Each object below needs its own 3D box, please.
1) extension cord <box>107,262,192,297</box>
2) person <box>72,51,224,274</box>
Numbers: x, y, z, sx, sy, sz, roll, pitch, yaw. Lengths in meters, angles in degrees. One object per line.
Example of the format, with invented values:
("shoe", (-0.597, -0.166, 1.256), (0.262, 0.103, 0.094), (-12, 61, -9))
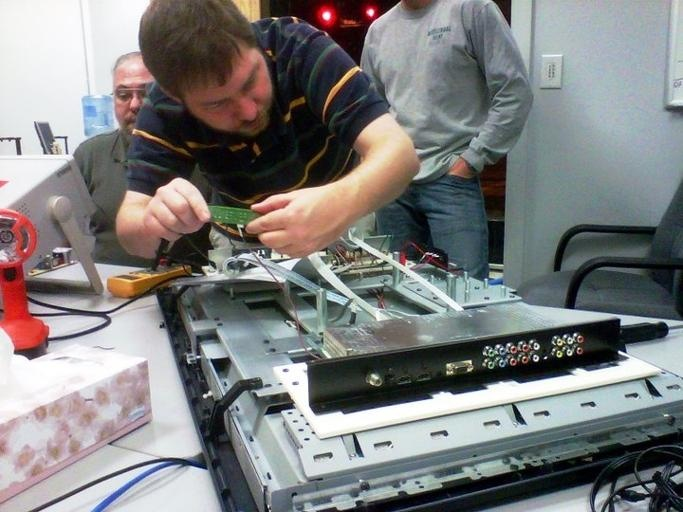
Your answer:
("extension cord", (-0.618, 0.081, 1.730), (0.167, 0.047, 0.210), (18, 19, 38))
("person", (-0.899, -0.379, 2.700), (0.633, 1.213, 0.662), (-9, 20, -34))
